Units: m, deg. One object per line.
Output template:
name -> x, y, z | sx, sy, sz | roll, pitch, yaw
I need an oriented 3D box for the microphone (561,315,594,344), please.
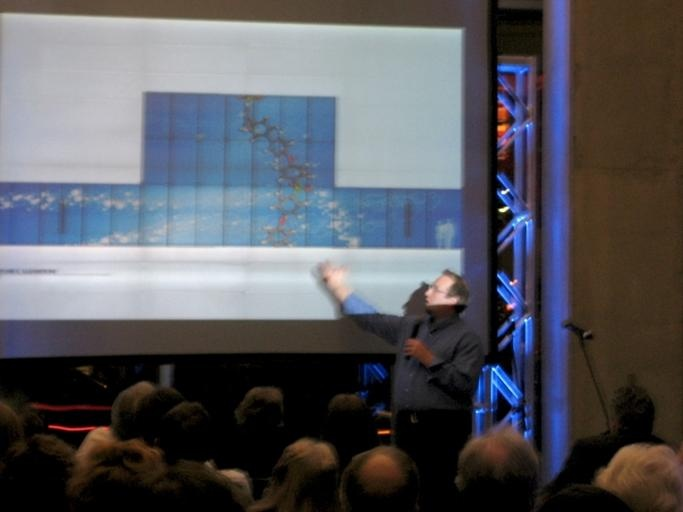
microphone -> 1.327, 0.420, 7.286 | 0.177, 0.113, 0.055 | 22, -28, 31

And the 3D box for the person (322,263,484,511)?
person -> 0.386, 0.745, 7.093 | 0.776, 1.336, 0.243 | 1, -2, 0
